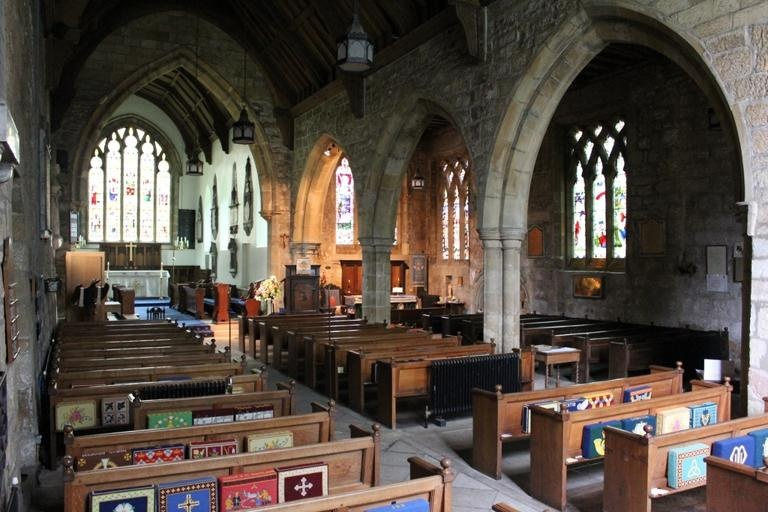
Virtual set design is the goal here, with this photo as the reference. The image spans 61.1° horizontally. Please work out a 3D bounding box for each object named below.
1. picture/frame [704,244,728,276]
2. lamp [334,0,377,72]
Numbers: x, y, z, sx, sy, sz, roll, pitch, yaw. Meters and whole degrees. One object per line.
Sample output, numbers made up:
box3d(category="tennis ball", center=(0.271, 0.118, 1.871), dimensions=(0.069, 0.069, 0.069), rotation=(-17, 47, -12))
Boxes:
box3d(category="picture/frame", center=(6.547, 0.047, 12.765), dimensions=(0.086, 0.846, 0.612), rotation=(-1, 1, -31))
box3d(category="lamp", center=(-0.494, -3.757, 10.791), dimensions=(0.573, 1.124, 0.512), rotation=(0, -3, -4))
